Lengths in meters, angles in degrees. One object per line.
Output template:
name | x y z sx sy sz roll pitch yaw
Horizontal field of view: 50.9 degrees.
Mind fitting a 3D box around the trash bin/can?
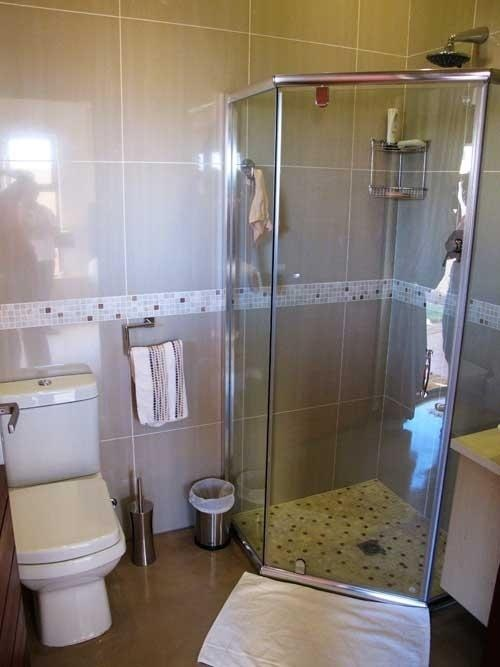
trash bin/can | -0.176 0.831 2.420 0.165 0.272 0.182 -1 16 -7

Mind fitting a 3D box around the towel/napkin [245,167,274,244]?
towel/napkin | 0.039 -0.487 1.979 0.028 0.278 0.154 -4 11 -23

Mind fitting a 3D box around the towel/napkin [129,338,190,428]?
towel/napkin | -0.373 0.212 2.219 0.209 0.390 0.057 -5 27 -14

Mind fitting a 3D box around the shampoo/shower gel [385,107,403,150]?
shampoo/shower gel | 0.514 -0.742 1.889 0.052 0.111 0.151 3 11 15

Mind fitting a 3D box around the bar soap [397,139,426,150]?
bar soap | 0.585 -0.686 1.903 0.014 0.039 0.134 -5 12 -28
